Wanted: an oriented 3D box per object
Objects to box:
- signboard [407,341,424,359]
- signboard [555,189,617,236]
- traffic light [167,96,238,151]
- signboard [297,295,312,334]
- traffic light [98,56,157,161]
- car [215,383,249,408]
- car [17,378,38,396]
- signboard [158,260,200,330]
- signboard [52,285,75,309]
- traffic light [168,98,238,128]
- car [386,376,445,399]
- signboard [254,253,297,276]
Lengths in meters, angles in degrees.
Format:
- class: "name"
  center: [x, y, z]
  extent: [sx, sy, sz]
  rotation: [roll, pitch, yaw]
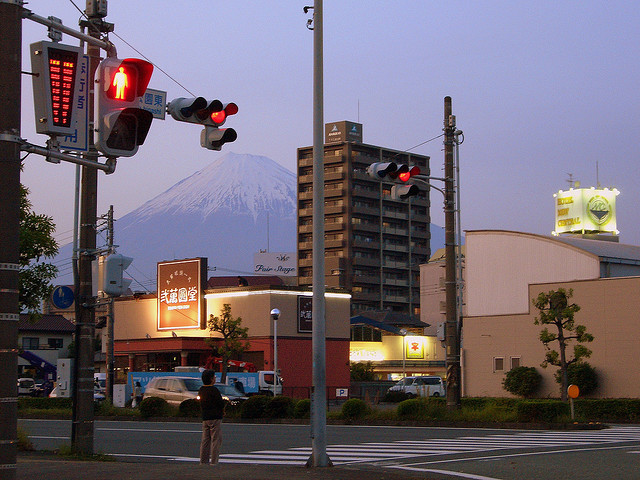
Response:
- class: "signboard"
  center: [7.504, 8.786, 99.423]
  extent: [1.614, 1.409, 0.368]
  rotation: [7, -10, -41]
- class: "signboard"
  center: [16.831, -1.727, 79.463]
  extent: [4.200, 2.763, 4.182]
  rotation: [1, -5, -1]
- class: "traffic light"
  center: [-2.818, -2.809, 29.782]
  extent: [0.933, 1.156, 1.749]
  rotation: [-3, -5, 44]
- class: "signboard"
  center: [-1.029, 4.462, 75.592]
  extent: [0.580, 2.363, 1.276]
  rotation: [-4, -9, 31]
- class: "traffic light"
  center: [-4.403, -2.999, 28.037]
  extent: [1.204, 2.150, 0.628]
  rotation: [0, -7, 3]
- class: "car"
  center: [-3.702, 6.487, 52.253]
  extent: [1.280, 1.039, 2.166]
  rotation: [4, -10, -39]
- class: "car"
  center: [-20.121, 10.093, 85.617]
  extent: [1.285, 1.154, 4.233]
  rotation: [2, -8, -13]
- class: "signboard"
  center: [-8.889, 3.527, 78.947]
  extent: [4.099, 5.378, 0.606]
  rotation: [-6, -11, 43]
- class: "signboard"
  center: [-7.290, 1.610, 35.236]
  extent: [0.789, 0.788, 0.108]
  rotation: [2, 5, 37]
- class: "traffic light"
  center: [-2.809, -3.086, 29.809]
  extent: [0.825, 0.553, 1.733]
  rotation: [0, -4, 41]
- class: "car"
  center: [5.696, 8.644, 73.188]
  extent: [2.765, 1.177, 3.511]
  rotation: [-1, -8, 12]
- class: "signboard"
  center: [-4.914, 2.533, 135.021]
  extent: [4.293, 2.538, 3.265]
  rotation: [0, -7, 6]
